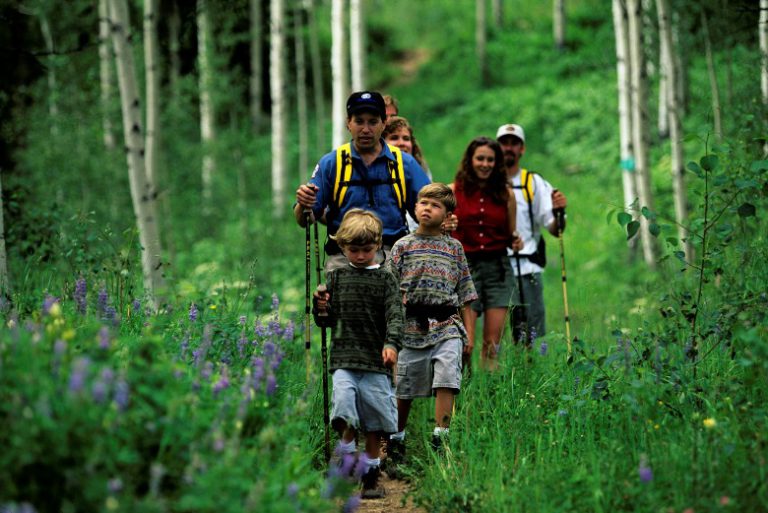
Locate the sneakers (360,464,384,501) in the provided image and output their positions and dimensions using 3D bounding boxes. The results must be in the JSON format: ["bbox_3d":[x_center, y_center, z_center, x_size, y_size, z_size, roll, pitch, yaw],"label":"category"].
[{"bbox_3d":[-0.116,2.140,9.448,0.146,0.305,0.430,-5,1,5],"label":"sneakers"}]

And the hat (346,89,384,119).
[{"bbox_3d":[-0.178,-1.500,10.017,0.377,0.282,0.232,-6,5,-3],"label":"hat"}]
